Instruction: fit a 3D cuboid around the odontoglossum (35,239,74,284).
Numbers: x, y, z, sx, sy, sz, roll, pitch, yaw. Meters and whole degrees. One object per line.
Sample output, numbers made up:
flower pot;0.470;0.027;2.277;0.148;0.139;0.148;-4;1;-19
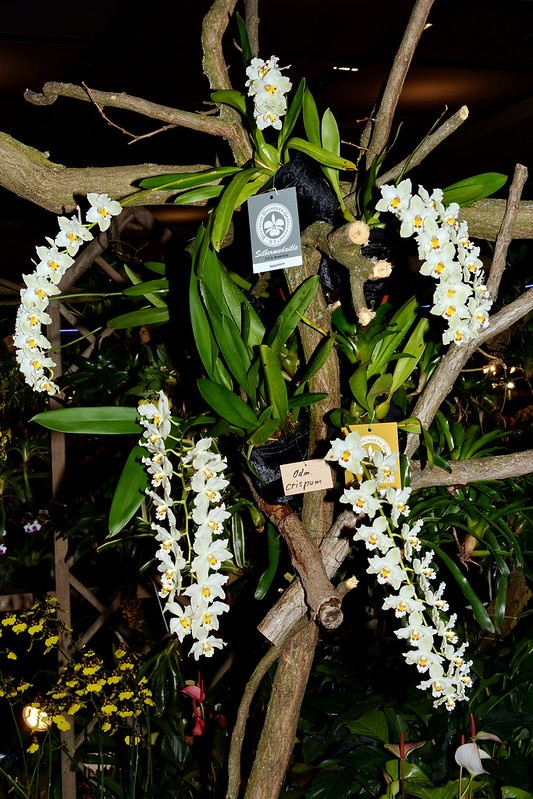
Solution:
odontoglossum;-0.363;-0.234;1.253;0.073;0.068;0.031;-12;19;-23

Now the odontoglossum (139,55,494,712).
odontoglossum;0.003;-0.038;1.332;0.663;1.031;0.215;-18;14;-35
